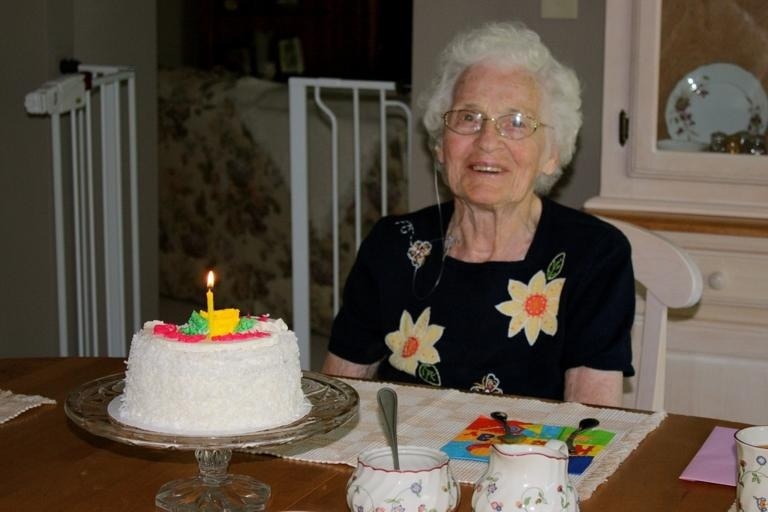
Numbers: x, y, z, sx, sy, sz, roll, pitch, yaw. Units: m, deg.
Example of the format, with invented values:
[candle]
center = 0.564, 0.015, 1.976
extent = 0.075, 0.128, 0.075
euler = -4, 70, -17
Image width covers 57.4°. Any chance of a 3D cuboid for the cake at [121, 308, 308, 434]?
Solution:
[cake]
center = -0.291, 0.189, 1.202
extent = 0.338, 0.168, 0.229
euler = -3, 13, -22
